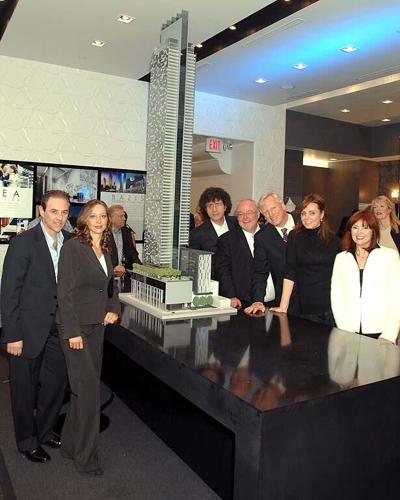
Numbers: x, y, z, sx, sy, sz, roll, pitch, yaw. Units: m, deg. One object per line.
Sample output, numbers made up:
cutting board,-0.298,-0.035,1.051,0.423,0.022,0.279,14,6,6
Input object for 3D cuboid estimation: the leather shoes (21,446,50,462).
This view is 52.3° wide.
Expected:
leather shoes,-0.926,1.169,2.323,0.172,0.070,0.065,-3,-5,26

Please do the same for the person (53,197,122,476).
person,-0.621,0.467,2.257,0.309,1.485,0.433,1,4,-7
